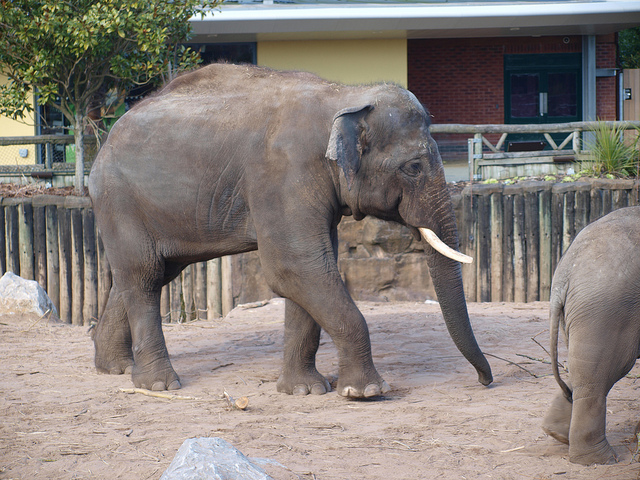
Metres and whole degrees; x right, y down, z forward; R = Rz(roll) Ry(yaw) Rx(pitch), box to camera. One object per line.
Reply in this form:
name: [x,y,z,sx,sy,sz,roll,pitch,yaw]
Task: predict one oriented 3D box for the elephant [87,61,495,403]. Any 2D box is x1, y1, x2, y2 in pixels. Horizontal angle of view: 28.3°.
elephant: [-0.440,-0.080,14.944,5.050,3.697,1.951,2,8,13]
